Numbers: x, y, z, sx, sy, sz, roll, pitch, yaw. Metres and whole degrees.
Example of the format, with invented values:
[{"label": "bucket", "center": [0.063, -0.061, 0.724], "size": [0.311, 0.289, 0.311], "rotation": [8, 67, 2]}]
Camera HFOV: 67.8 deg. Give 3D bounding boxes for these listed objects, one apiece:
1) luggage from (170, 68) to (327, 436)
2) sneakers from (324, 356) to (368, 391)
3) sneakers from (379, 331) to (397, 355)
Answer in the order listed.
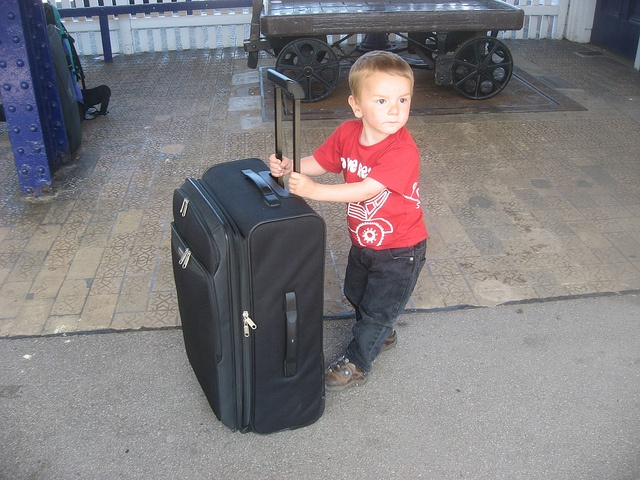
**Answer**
[{"label": "luggage", "center": [-0.297, 0.274, 2.035], "size": [0.513, 1.045, 0.653], "rotation": [-20, 34, -36]}, {"label": "sneakers", "center": [0.117, 0.640, 2.279], "size": [0.204, 0.120, 0.113], "rotation": [0, 22, -6]}, {"label": "sneakers", "center": [0.356, 0.522, 2.420], "size": [0.143, 0.060, 0.051], "rotation": [-31, 43, -21]}]
